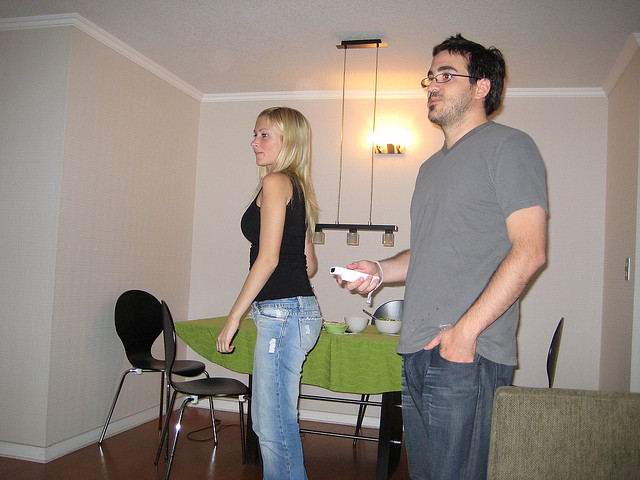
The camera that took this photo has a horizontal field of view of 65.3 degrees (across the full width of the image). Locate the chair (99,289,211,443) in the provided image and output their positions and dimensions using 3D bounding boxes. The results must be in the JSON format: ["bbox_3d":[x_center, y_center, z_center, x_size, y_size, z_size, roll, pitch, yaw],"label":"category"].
[{"bbox_3d":[-1.251,0.969,3.881,0.671,1.106,0.668,-2,-4,14],"label":"chair"}]

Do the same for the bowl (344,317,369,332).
[{"bbox_3d":[0.267,0.573,3.484,0.118,0.067,0.117,0,-7,0],"label":"bowl"}]

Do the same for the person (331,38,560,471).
[{"bbox_3d":[0.531,0.010,1.758,0.483,1.586,0.294,1,-2,24],"label":"person"}]

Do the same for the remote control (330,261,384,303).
[{"bbox_3d":[0.161,0.205,2.173,0.224,0.136,0.227,25,-9,8],"label":"remote control"}]

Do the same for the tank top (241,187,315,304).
[{"bbox_3d":[-0.141,0.043,2.578,0.433,0.716,0.559,1,-6,7],"label":"tank top"}]

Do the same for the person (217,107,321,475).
[{"bbox_3d":[-0.220,0.196,2.346,0.451,1.702,0.372,2,-2,0],"label":"person"}]

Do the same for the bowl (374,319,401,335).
[{"bbox_3d":[0.476,0.597,3.525,0.210,0.109,0.212,-1,-6,0],"label":"bowl"}]
